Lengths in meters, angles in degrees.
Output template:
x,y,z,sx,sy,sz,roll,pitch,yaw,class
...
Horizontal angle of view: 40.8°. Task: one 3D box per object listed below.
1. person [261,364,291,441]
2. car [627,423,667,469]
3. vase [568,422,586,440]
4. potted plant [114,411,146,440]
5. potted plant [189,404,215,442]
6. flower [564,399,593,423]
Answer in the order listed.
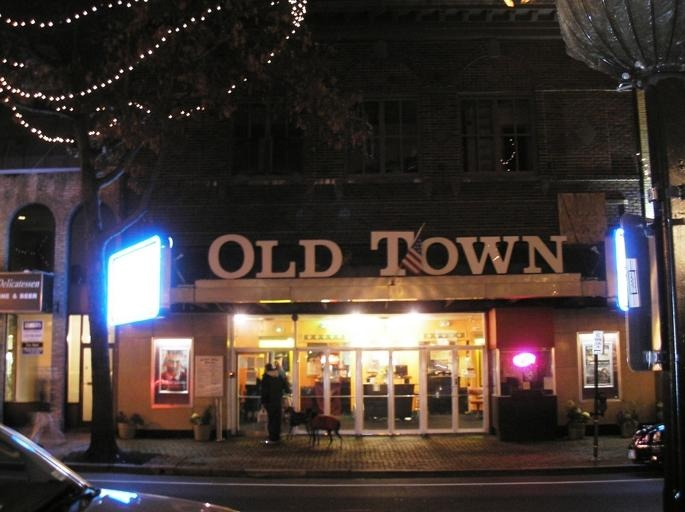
x,y,z,sx,sy,sz,roll,pitch,yaw,class
-1.952,4.161,26.126,0.697,2.214,0.465,0,-7,-5,person
6.889,4.326,20.805,0.741,0.995,2.886,-3,-8,11,car
6.708,5.084,26.781,0.543,0.562,0.422,1,-1,6,vase
-6.228,5.011,27.107,0.729,0.694,0.751,2,-17,-8,potted plant
-4.101,4.914,27.153,0.877,1.088,0.785,2,-3,-26,potted plant
6.796,4.568,26.670,0.739,0.594,0.466,-2,-31,-5,flower
